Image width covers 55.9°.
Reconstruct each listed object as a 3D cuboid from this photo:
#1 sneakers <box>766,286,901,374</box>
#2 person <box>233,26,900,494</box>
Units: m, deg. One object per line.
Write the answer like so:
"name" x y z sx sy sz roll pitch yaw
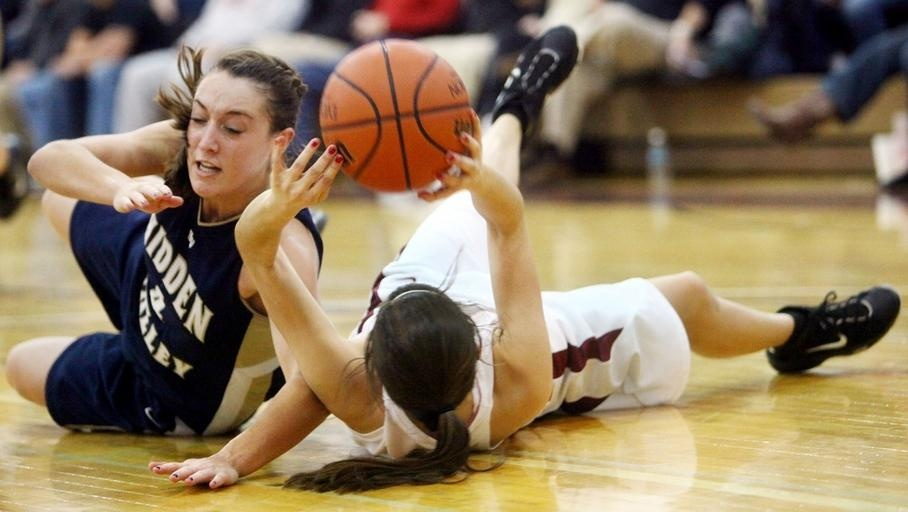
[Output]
"sneakers" 1.318 0.258 2.986 0.541 0.245 0.199 -18 54 24
"person" 0.260 0.015 2.782 1.214 0.737 1.743 -2 4 22
